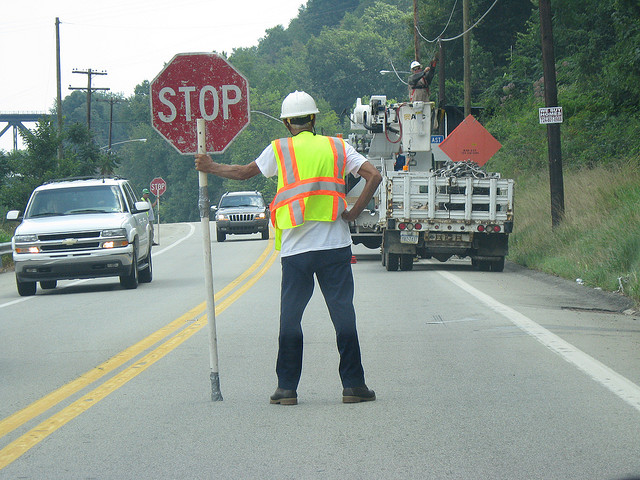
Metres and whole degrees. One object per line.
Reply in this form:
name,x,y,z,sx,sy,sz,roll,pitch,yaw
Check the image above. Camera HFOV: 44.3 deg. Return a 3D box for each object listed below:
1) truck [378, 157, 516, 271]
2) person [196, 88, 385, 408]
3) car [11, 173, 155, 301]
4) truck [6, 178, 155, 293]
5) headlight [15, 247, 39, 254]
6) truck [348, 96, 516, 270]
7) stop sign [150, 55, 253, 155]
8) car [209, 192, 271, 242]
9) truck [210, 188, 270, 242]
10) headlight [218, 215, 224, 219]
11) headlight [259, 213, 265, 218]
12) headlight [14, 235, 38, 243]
truck,2.754,-0.633,18.239,2.307,2.843,4.563,2,5,2
person,-0.089,0.077,6.980,1.319,2.803,0.437,-2,3,-7
car,-4.679,-0.221,16.657,1.822,1.653,3.299,-3,-5,0
truck,-4.855,-0.132,16.116,2.351,2.234,2.410,-2,4,-1
headlight,-5.598,0.194,15.053,0.485,0.113,0.110,0,4,22
truck,2.702,-1.495,19.954,2.537,3.357,6.172,0,6,-5
stop sign,-1.364,-1.536,8.846,1.227,1.160,0.122,-8,10,-34
car,-3.249,-1.167,32.345,2.010,1.628,3.501,-1,-4,-3
truck,-3.212,-1.215,33.336,1.655,1.480,3.191,-1,-2,-2
headlight,-4.025,-0.956,32.055,0.173,0.178,0.042,1,0,4
headlight,-2.377,-1.023,31.996,0.168,0.172,0.041,2,-6,-3
headlight,-5.638,-0.034,15.084,0.510,0.131,0.080,-1,4,16
